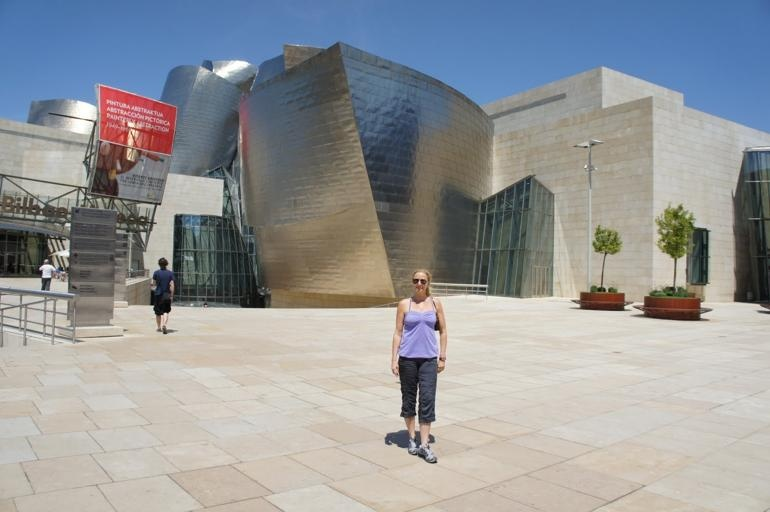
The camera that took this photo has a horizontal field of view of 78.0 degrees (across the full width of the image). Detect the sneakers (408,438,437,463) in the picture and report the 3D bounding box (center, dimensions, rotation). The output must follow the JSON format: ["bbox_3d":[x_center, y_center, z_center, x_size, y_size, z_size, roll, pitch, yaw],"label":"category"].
[{"bbox_3d":[0.457,2.318,5.667,0.142,0.134,0.385,9,-9,-41],"label":"sneakers"}]

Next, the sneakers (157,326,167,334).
[{"bbox_3d":[-6.147,2.041,13.123,0.161,0.161,0.427,6,-10,-40],"label":"sneakers"}]

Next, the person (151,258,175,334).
[{"bbox_3d":[-6.370,1.093,13.606,0.531,1.575,1.558,4,-2,-25],"label":"person"}]

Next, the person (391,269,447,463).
[{"bbox_3d":[0.400,1.279,5.838,0.640,2.219,0.609,3,-2,1],"label":"person"}]
